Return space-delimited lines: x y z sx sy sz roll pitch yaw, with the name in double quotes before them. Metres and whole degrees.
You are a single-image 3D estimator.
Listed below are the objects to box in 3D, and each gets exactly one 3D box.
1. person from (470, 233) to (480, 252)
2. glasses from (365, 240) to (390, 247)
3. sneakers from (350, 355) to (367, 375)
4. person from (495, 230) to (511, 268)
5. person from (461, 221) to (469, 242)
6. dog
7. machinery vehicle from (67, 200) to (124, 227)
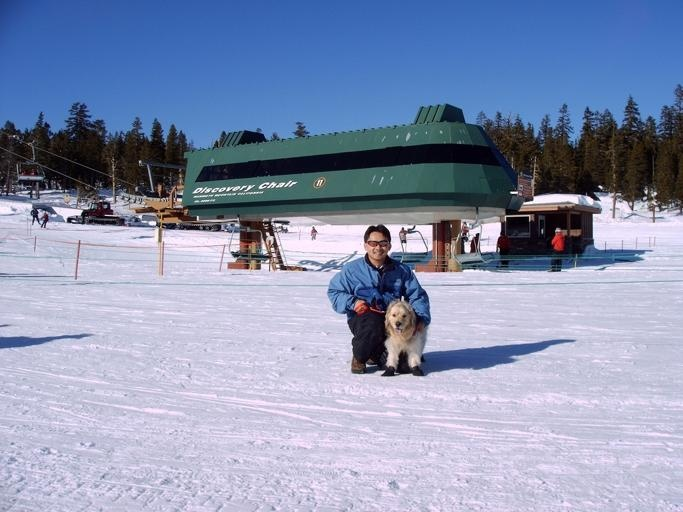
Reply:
"person" 5.179 -0.499 24.344 0.323 0.742 1.026 2 4 12
"glasses" 0.408 -0.134 6.945 0.268 0.082 0.115 1 3 5
"sneakers" 0.194 1.224 7.008 0.159 0.183 0.158 1 4 1
"person" 6.469 -0.159 25.073 0.473 1.233 1.218 2 4 13
"person" 4.909 -0.955 24.890 0.278 0.761 1.030 2 4 11
"dog" 0.661 0.912 6.847 0.432 0.859 0.568 3 4 29
"machinery vehicle" -21.596 -3.976 56.914 2.775 1.972 4.741 0 -2 29
